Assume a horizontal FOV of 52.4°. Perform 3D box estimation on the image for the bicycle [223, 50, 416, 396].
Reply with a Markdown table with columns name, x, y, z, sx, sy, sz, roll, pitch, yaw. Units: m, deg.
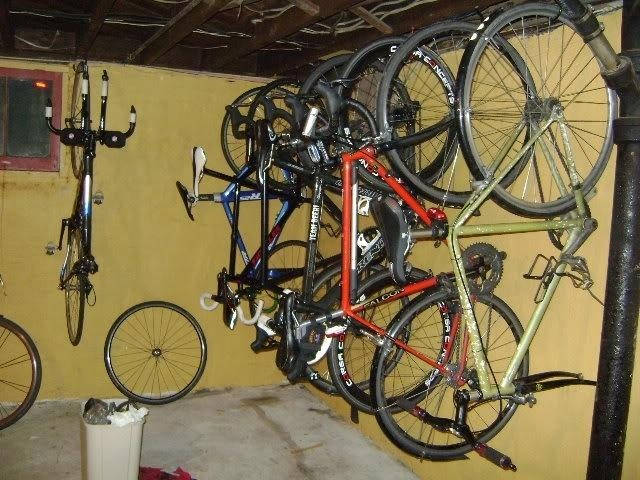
| name | x | y | z | sx | sy | sz | roll | pitch | yaw |
| --- | --- | --- | --- | --- | --- | --- | --- | --- | --- |
| bicycle | 0.108 | -0.110 | 4.495 | 0.649 | 2.427 | 1.434 | -1 | -1 | -42 |

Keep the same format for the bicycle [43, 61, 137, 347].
| name | x | y | z | sx | sy | sz | roll | pitch | yaw |
| --- | --- | --- | --- | --- | --- | --- | --- | --- | --- |
| bicycle | -1.785 | -0.423 | 4.836 | 0.543 | 1.361 | 2.463 | 9 | 29 | -26 |

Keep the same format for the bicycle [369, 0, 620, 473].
| name | x | y | z | sx | sy | sz | roll | pitch | yaw |
| --- | --- | --- | --- | --- | --- | --- | --- | --- | --- |
| bicycle | 1.115 | -0.003 | 3.870 | 1.208 | 2.726 | 0.969 | 15 | 17 | 38 |

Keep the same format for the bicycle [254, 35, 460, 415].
| name | x | y | z | sx | sy | sz | roll | pitch | yaw |
| --- | --- | --- | --- | --- | --- | --- | --- | --- | --- |
| bicycle | 0.274 | -0.077 | 4.166 | 0.238 | 2.395 | 1.306 | 2 | 3 | -35 |
